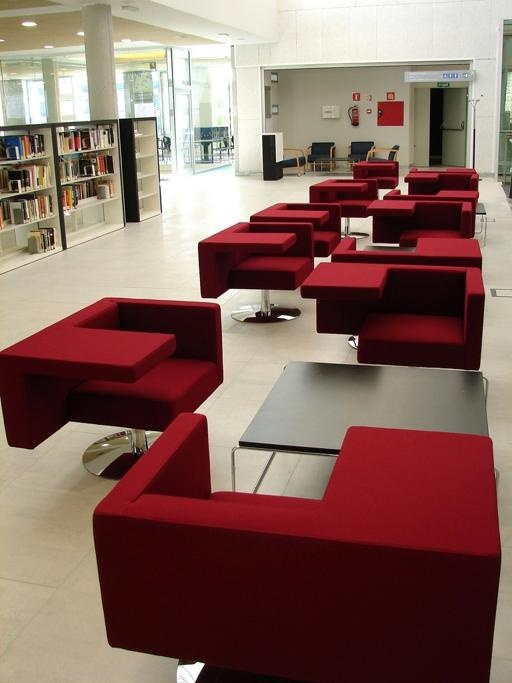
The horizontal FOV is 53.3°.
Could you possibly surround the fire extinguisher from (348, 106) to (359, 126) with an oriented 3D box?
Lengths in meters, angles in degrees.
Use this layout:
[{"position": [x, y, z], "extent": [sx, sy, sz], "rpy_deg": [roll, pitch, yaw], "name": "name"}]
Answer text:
[{"position": [3.557, -8.174, 18.405], "extent": [0.405, 0.725, 0.148], "rpy_deg": [0, 5, 10], "name": "fire extinguisher"}]
